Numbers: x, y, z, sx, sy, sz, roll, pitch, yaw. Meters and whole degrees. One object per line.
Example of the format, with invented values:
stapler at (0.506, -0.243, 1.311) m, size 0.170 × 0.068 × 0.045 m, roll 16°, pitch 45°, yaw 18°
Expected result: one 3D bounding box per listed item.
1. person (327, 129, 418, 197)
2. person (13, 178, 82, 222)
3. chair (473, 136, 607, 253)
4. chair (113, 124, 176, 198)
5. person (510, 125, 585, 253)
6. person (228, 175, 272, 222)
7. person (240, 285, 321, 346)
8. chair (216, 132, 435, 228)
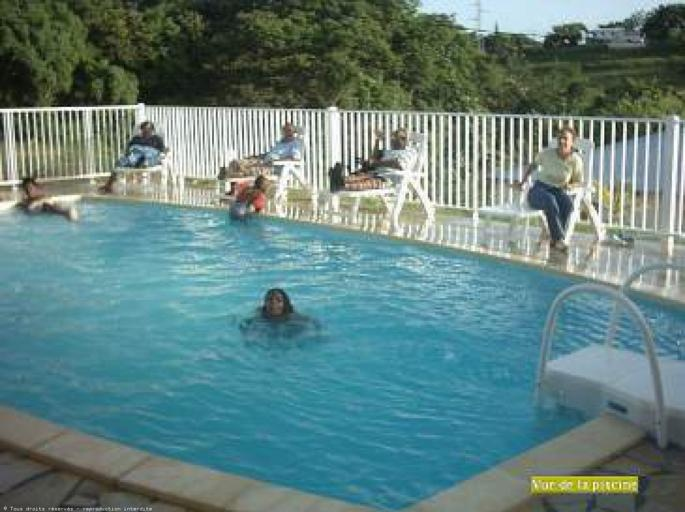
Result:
person at (0.574, -1.504, 12.132) m, size 1.441 × 1.095 × 1.083 m, roll 8°, pitch 12°, yaw 26°
person at (-4.677, -0.837, 12.136) m, size 0.918 × 0.424 × 0.622 m, roll 19°, pitch 23°, yaw -2°
chair at (2.689, -0.875, 10.139) m, size 1.377 × 2.353 × 1.318 m, roll 3°, pitch -5°, yaw -12°
chair at (-4.161, -2.098, 15.554) m, size 1.088 × 1.271 × 2.021 m, roll 1°, pitch 15°, yaw -8°
person at (2.679, -0.902, 9.711) m, size 0.709 × 1.496 × 0.603 m, roll 5°, pitch 11°, yaw 18°
person at (-1.392, -0.862, 11.338) m, size 0.330 × 0.799 × 1.174 m, roll -3°, pitch 12°, yaw -23°
person at (-0.647, 0.574, 7.778) m, size 0.875 × 0.444 × 0.790 m, roll 3°, pitch 12°, yaw 5°
chair at (-0.346, -0.998, 12.605) m, size 3.140 × 1.480 × 1.834 m, roll -3°, pitch 14°, yaw -6°
